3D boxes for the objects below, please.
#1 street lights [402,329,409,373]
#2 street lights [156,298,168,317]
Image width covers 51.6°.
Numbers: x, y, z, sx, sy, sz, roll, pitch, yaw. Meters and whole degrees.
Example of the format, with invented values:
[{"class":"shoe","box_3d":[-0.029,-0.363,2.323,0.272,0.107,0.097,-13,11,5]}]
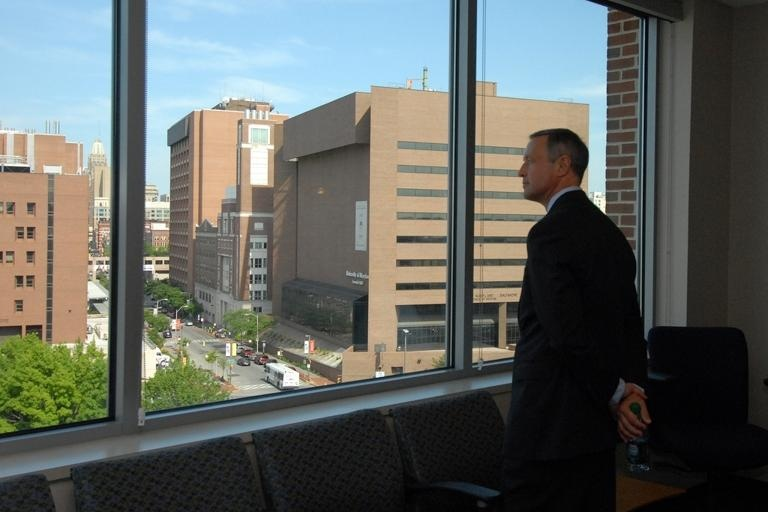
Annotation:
[{"class":"street lights","box_3d":[0.125,0.549,4.713,0.045,0.241,0.129,1,1,0]},{"class":"street lights","box_3d":[-1.129,0.248,3.993,0.080,0.081,0.065,3,-5,-41]}]
